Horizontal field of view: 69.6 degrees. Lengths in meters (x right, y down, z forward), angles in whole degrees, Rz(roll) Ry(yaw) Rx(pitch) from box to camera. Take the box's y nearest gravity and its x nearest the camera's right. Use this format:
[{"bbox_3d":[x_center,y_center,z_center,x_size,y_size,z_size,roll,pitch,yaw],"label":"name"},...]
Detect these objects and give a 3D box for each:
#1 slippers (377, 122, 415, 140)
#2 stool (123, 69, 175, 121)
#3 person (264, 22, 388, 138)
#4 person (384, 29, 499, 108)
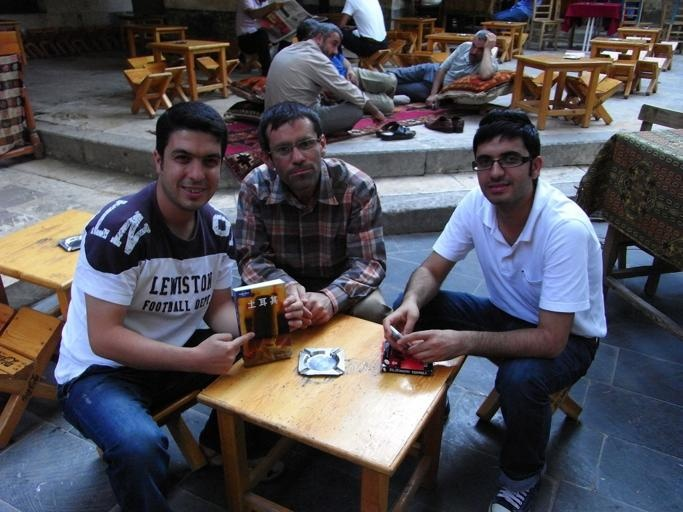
[{"bbox_3d":[0.681,-1.589,6.230,0.425,0.141,0.307,-12,34,-27],"label":"slippers"},{"bbox_3d":[-2.782,-2.429,7.156,0.616,0.563,0.598,-3,32,-13],"label":"stool"},{"bbox_3d":[-0.220,-2.191,6.139,1.381,1.422,1.121,4,23,1],"label":"person"},{"bbox_3d":[1.224,-2.983,7.734,2.332,0.925,0.860,-12,51,-12],"label":"person"}]
